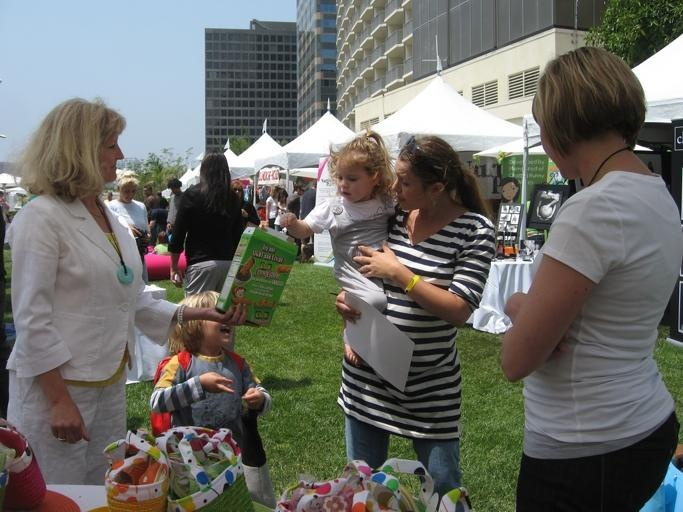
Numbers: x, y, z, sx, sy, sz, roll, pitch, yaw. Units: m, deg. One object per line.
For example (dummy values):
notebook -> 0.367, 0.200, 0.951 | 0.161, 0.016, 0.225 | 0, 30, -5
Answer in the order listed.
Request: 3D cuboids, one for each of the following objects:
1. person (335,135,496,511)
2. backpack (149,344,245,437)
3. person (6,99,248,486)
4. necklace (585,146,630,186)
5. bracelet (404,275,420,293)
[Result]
person -> 0.332, 0.251, 2.633 | 0.710, 1.595, 0.440 | 2, 6, 17
backpack -> -0.693, 0.712, 2.858 | 0.411, 0.492, 0.424 | 9, -27, -26
person -> -1.060, 0.167, 2.416 | 0.342, 1.636, 0.653 | 4, 7, 37
necklace -> 0.856, -0.308, 1.855 | 0.032, 0.127, 0.101 | 39, 20, 1
bracelet -> 0.308, 0.122, 2.454 | 0.064, 0.074, 0.041 | 0, 6, -6
